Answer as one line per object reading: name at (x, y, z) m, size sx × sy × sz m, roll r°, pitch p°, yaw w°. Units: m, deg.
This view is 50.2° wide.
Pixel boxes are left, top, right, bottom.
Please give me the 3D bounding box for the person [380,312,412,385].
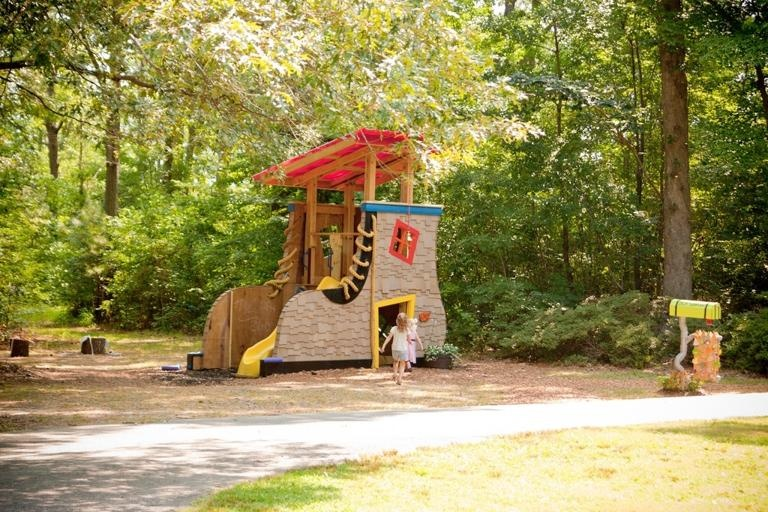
person at (0.373, 2.390, 21.200) m, size 0.638 × 1.730 × 1.252 m, roll -1°, pitch 7°, yaw -5°
